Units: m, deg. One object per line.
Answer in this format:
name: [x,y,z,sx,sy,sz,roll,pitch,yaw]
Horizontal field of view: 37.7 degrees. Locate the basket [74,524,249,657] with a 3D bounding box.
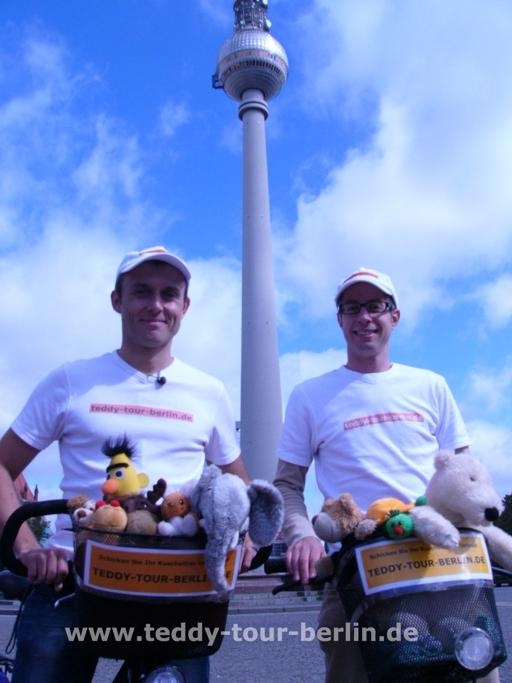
basket: [-0.287,0.633,1.830,0.439,0.254,0.314,10,-24,-20]

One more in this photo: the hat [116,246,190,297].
hat: [-0.403,-0.279,2.894,0.282,0.121,0.350,-1,-14,-12]

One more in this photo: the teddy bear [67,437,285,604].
teddy bear: [-0.228,0.427,1.856,0.512,0.291,0.297,-5,-22,28]
